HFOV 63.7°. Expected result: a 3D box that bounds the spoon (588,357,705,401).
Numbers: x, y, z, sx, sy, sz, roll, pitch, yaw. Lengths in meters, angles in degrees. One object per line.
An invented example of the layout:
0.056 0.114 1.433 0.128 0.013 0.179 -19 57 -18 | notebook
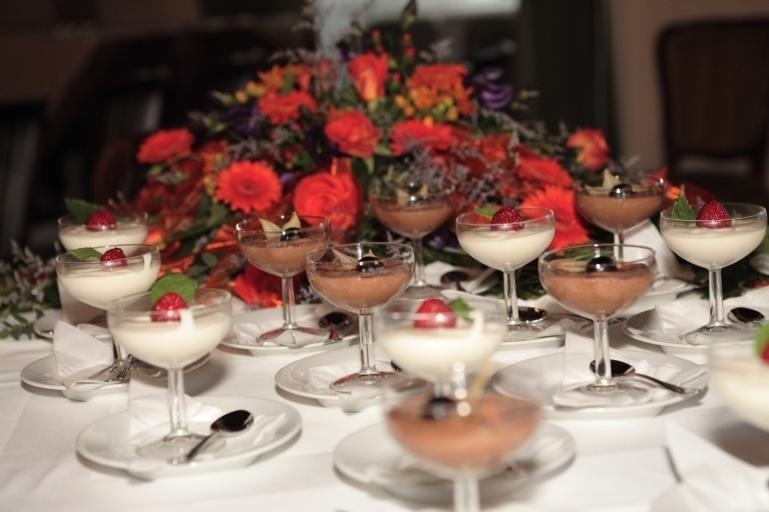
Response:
0.553 0.247 1.344 0.060 0.030 0.235 -7 18 -32 | spoon

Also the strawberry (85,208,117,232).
-0.867 -0.112 1.905 0.090 0.061 0.063 -12 19 -21 | strawberry

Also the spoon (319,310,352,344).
-0.146 0.202 1.770 0.080 0.024 0.070 -10 46 8 | spoon

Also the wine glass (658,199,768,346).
0.856 0.024 1.592 0.241 0.297 0.372 -4 23 5 | wine glass

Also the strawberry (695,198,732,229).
0.831 -0.102 1.569 0.075 0.080 0.052 -2 -4 5 | strawberry

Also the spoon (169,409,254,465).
-0.337 0.353 1.249 0.055 0.022 0.171 0 18 27 | spoon

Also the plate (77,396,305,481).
-0.399 0.365 1.274 0.446 0.066 0.229 -8 22 -8 | plate

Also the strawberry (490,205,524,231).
0.328 -0.099 1.690 0.085 0.056 0.061 -3 46 -21 | strawberry

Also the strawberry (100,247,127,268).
-0.703 0.001 1.580 0.056 0.024 0.057 10 45 -23 | strawberry

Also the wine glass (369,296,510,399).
0.091 0.133 1.081 0.227 0.152 0.193 -4 -4 -5 | wine glass

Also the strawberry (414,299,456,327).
0.091 0.107 1.142 0.064 0.054 0.063 2 57 4 | strawberry
